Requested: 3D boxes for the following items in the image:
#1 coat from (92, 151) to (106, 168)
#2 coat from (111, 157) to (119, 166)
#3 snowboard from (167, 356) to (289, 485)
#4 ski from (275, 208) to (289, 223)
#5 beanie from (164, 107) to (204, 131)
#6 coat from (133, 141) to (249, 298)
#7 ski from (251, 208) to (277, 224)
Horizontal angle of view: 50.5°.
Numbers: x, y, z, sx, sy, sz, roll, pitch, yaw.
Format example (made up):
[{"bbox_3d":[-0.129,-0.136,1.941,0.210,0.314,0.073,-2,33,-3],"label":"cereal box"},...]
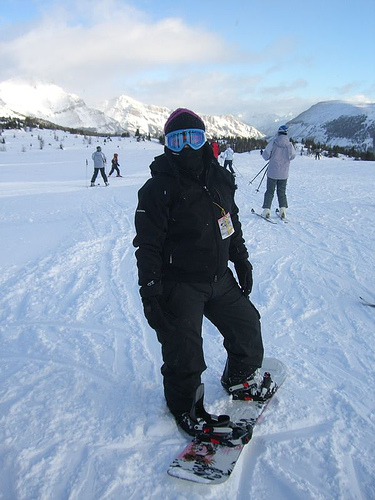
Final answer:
[{"bbox_3d":[-3.015,-3.052,13.520,0.395,0.535,0.794,-2,20,-12],"label":"coat"},{"bbox_3d":[-3.011,-3.722,16.789,0.207,0.373,0.288,23,20,39],"label":"coat"},{"bbox_3d":[0.274,1.026,2.407,0.318,0.084,1.068,13,22,29],"label":"snowboard"},{"bbox_3d":[1.842,-0.645,7.664,0.065,0.081,0.542,13,20,-14],"label":"ski"},{"bbox_3d":[-0.034,-0.808,2.477,0.228,0.132,0.163,0,19,-6],"label":"beanie"},{"bbox_3d":[0.031,-0.200,2.550,0.757,1.014,0.411,-12,19,-26],"label":"coat"},{"bbox_3d":[1.496,-0.653,7.733,0.490,0.063,0.066,39,28,1],"label":"ski"}]
